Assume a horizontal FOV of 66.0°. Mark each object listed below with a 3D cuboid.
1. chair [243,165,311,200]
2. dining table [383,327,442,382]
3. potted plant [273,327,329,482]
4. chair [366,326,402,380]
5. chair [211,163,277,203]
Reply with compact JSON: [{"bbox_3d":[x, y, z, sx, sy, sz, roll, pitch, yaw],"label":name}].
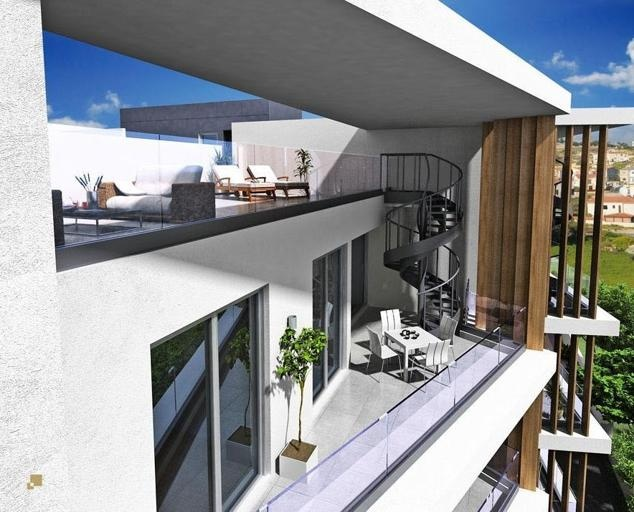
[{"bbox_3d":[-0.791,-1.437,9.191,0.810,0.535,0.646,10,17,36],"label":"chair"},{"bbox_3d":[1.924,1.977,9.843,0.939,0.744,0.952,-8,17,-28],"label":"dining table"},{"bbox_3d":[-0.245,2.001,7.009,0.704,1.964,1.295,0,11,1],"label":"potted plant"},{"bbox_3d":[1.419,1.901,10.281,0.826,1.256,0.700,-8,18,-19],"label":"chair"},{"bbox_3d":[-1.199,-1.194,8.048,0.757,0.486,0.518,10,16,42],"label":"chair"}]
